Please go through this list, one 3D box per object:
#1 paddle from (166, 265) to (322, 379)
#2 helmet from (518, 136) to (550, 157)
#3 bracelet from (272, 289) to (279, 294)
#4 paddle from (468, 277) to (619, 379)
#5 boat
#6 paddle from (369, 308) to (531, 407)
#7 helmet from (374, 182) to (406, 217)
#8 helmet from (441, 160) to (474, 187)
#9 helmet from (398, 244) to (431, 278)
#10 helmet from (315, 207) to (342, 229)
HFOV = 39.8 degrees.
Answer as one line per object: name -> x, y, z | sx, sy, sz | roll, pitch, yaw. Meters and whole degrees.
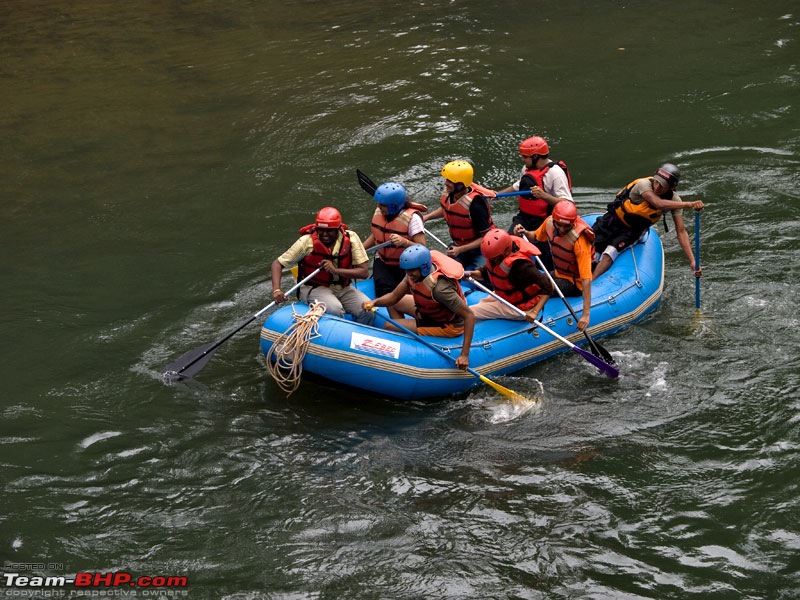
paddle -> -2.266, 0.383, 16.294 | 3.629, 0.368, 0.320 | -24, 75, 5
helmet -> 2.085, -2.359, 17.004 | 0.482, 0.230, 0.478 | -4, 5, -5
bracelet -> -1.719, -0.124, 15.439 | 0.142, 0.136, 0.034 | 0, 79, -4
paddle -> 1.986, 0.430, 15.707 | 3.302, 0.296, 0.280 | 22, 27, 2
boat -> 1.523, 0.445, 15.872 | 5.042, 0.640, 2.329 | -12, 22, -26
paddle -> 0.689, 0.830, 15.341 | 3.054, 0.255, 0.189 | 23, 42, -8
helmet -> -0.114, -1.446, 15.851 | 0.467, 0.443, 0.386 | -7, 44, -1
helmet -> 0.866, -1.826, 16.114 | 0.394, 0.425, 0.360 | 2, 45, 8
helmet -> 0.326, -0.544, 15.040 | 0.479, 0.379, 0.442 | -11, 3, 28
helmet -> -0.981, -1.158, 15.520 | 0.422, 0.235, 0.378 | 4, 21, 5
